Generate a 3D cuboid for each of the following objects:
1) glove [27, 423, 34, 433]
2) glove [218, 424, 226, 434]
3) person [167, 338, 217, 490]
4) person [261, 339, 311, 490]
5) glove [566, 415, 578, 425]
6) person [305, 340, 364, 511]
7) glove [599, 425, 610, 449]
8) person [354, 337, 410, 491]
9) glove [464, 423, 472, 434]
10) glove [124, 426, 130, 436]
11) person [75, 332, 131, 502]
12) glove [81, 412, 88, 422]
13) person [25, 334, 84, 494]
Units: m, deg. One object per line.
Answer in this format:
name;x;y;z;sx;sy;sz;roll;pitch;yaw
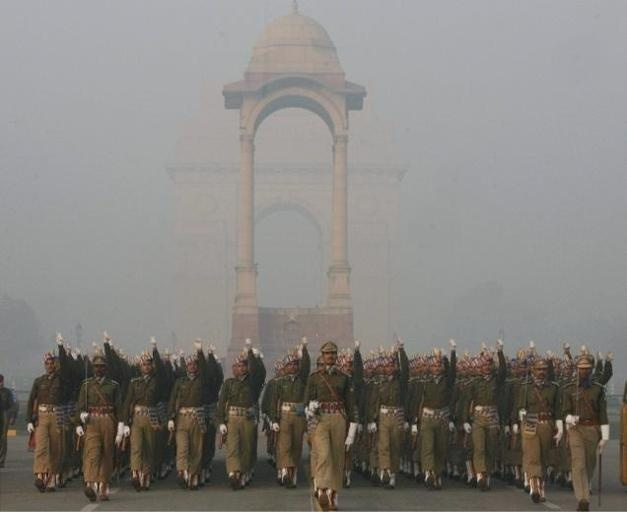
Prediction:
glove;-6.027;3.662;36.091;0.122;0.197;0.469;1;-12;-8
glove;-1.928;3.747;36.499;0.160;0.204;0.390;0;-12;-3
person;-2.594;3.434;36.608;0.621;3.153;0.906;2;-1;-10
person;-0.446;3.593;37.226;0.836;3.537;0.769;1;-3;-8
glove;5.237;3.281;33.822;0.138;0.223;0.088;0;-6;13
person;0.462;3.354;33.248;0.986;3.142;1.223;0;-5;-3
glove;5.854;3.613;33.732;0.179;0.512;0.320;-2;-11;9
person;1.666;3.512;37.630;0.845;4.092;1.113;4;-1;-8
glove;3.410;3.737;36.690;0.158;0.250;0.057;-7;-8;34
glove;-3.935;3.711;35.745;0.130;0.209;0.072;0;-4;-5
person;-4.478;3.579;35.230;0.635;3.440;0.783;-4;-3;37
glove;-4.753;3.359;35.141;0.157;0.264;0.086;6;2;20
person;-5.599;3.470;36.233;0.866;3.648;1.024;-2;-1;25
